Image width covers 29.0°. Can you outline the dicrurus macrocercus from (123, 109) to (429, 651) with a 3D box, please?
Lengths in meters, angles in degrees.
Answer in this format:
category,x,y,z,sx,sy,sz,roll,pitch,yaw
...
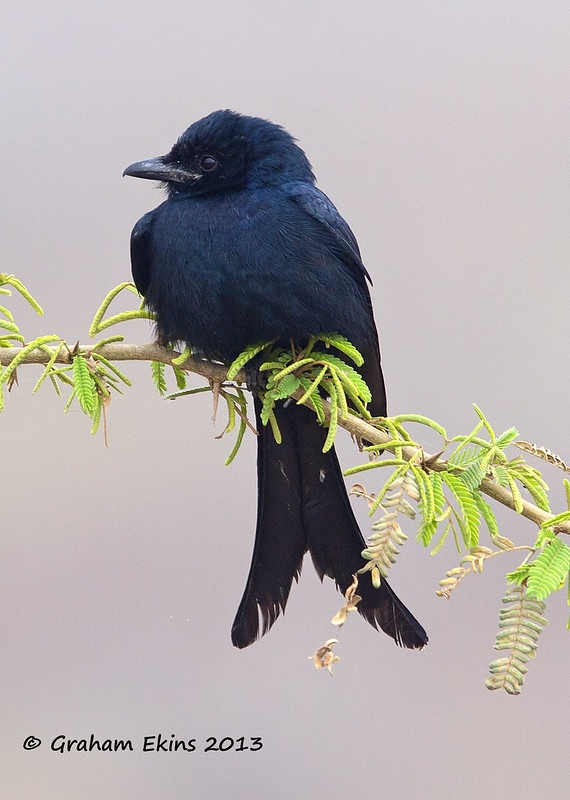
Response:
category,x,y,z,sx,sy,sz,roll,pitch,yaw
dicrurus macrocercus,-0.015,-0.016,3.572,0.973,1.682,0.753,2,-4,-39
